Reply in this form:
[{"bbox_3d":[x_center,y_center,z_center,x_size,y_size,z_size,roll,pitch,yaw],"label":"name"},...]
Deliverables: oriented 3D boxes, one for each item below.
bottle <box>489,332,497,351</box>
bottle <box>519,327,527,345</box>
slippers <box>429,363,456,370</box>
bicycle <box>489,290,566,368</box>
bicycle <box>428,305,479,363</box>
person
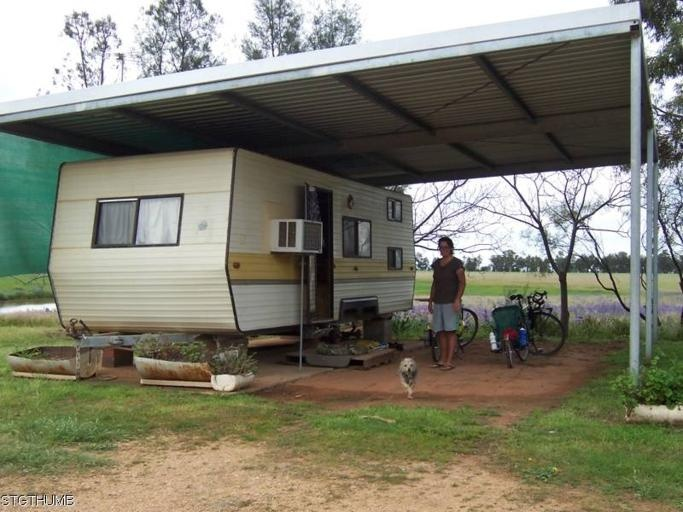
[{"bbox_3d":[2.518,1.413,8.812,0.083,0.311,0.249,-1,0,24],"label":"bottle"},{"bbox_3d":[3.081,1.350,9.019,0.070,0.316,0.227,-1,0,42],"label":"bottle"},{"bbox_3d":[1.667,1.802,8.777,0.344,0.082,0.125,2,-6,1],"label":"slippers"},{"bbox_3d":[3.240,1.275,9.883,1.097,1.331,2.230,-5,-11,26],"label":"bicycle"},{"bbox_3d":[2.437,1.667,11.558,0.952,1.076,1.873,-6,-10,22],"label":"bicycle"},{"bbox_3d":[1.699,0.765,8.634,0.549,2.101,0.686,-1,0,8],"label":"person"}]
